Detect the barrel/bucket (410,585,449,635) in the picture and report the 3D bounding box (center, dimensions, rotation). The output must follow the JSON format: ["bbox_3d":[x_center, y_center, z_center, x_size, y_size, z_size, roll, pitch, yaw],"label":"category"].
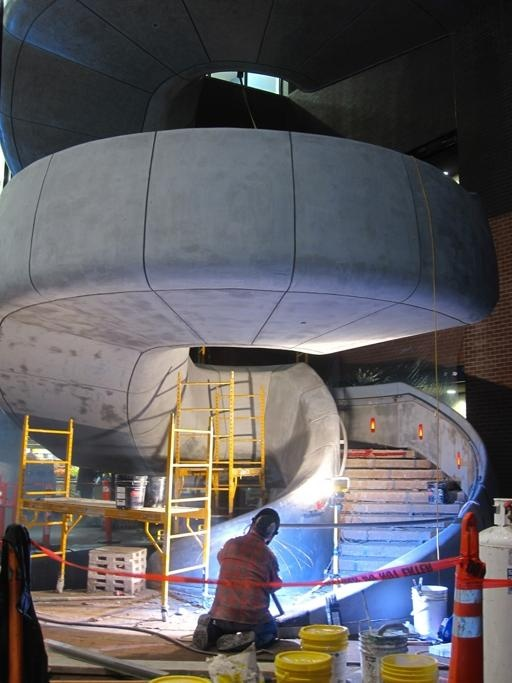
[{"bbox_3d":[1.664,2.589,6.734,0.371,0.400,0.384,0,-8,0],"label":"barrel/bucket"}]

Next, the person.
[{"bbox_3d":[-0.143,1.933,5.659,0.651,1.106,0.526,2,-15,-4],"label":"person"}]

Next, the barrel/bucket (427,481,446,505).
[{"bbox_3d":[2.727,2.288,10.440,0.382,0.415,0.391,-1,-8,0],"label":"barrel/bucket"}]

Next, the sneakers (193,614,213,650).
[{"bbox_3d":[-0.436,2.372,5.651,0.127,0.273,0.180,3,-16,9],"label":"sneakers"}]

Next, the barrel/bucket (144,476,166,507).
[{"bbox_3d":[-1.129,1.680,7.770,0.228,0.362,0.440,3,-15,-7],"label":"barrel/bucket"}]

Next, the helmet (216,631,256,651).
[{"bbox_3d":[-0.165,2.349,5.413,0.305,0.166,0.296,1,-15,2],"label":"helmet"}]

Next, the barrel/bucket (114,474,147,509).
[{"bbox_3d":[-1.345,1.614,7.433,0.314,0.357,0.387,4,-15,-12],"label":"barrel/bucket"}]

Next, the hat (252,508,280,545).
[{"bbox_3d":[0.101,1.527,5.892,0.238,0.311,0.299,8,5,5],"label":"hat"}]

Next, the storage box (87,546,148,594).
[{"bbox_3d":[-1.833,2.964,8.846,0.668,0.487,0.700,-13,-24,31],"label":"storage box"}]
